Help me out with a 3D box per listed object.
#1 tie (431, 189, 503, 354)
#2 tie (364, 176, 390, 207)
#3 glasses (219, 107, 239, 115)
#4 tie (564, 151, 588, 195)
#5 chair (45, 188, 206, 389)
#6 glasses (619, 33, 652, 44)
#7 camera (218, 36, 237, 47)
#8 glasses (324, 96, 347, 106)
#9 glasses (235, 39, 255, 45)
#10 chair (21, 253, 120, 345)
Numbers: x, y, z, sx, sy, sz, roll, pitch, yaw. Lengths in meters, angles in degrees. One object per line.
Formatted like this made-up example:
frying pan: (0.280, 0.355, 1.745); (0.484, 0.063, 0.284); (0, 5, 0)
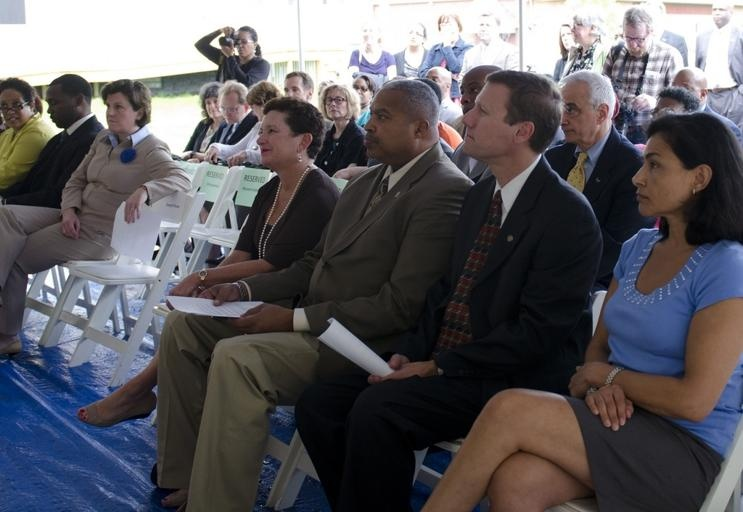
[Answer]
tie: (0.453, 0.073, 2.587); (0.200, 0.743, 0.265); (9, 13, 28)
tie: (0.046, -0.339, 2.987); (0.149, 0.048, 0.144); (21, 11, -47)
glasses: (-1.821, -1.885, 7.431); (0.138, 0.042, 0.146); (0, -5, 13)
tie: (1.324, -0.539, 3.631); (0.097, 0.271, 0.031); (23, 52, 30)
chair: (-2.017, 0.150, 4.559); (1.266, 1.415, 0.777); (12, 14, 39)
glasses: (2.688, -2.212, 5.755); (0.212, 0.079, 0.102); (8, 11, 23)
camera: (-2.104, -3.135, 8.286); (0.275, 0.150, 0.125); (5, 11, 7)
glasses: (-0.374, -1.691, 6.168); (0.229, 0.095, 0.047); (3, 11, -4)
glasses: (-1.835, -3.103, 8.255); (0.284, 0.100, 0.152); (2, 10, -8)
chair: (-2.760, 0.434, 5.295); (0.630, 0.729, 1.125); (4, -3, -36)
